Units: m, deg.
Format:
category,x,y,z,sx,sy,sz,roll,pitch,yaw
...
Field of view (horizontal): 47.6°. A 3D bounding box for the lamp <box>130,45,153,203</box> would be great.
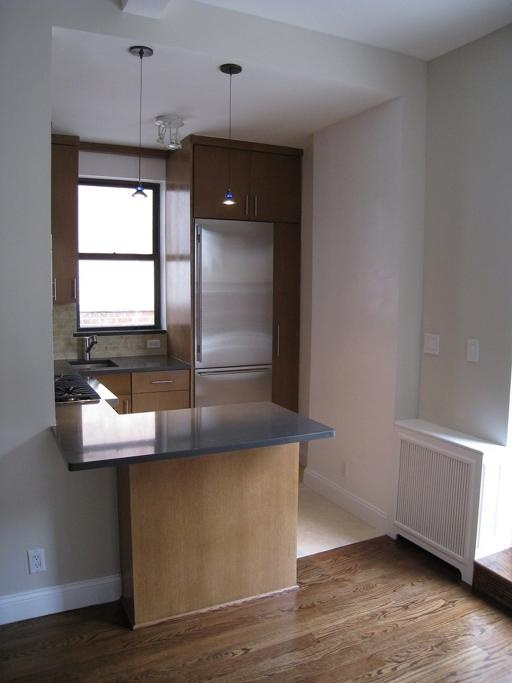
category,x,y,z,sx,sy,sz,roll,pitch,yaw
lamp,-0.506,-0.969,2.572,0.129,0.613,0.129,11,14,37
